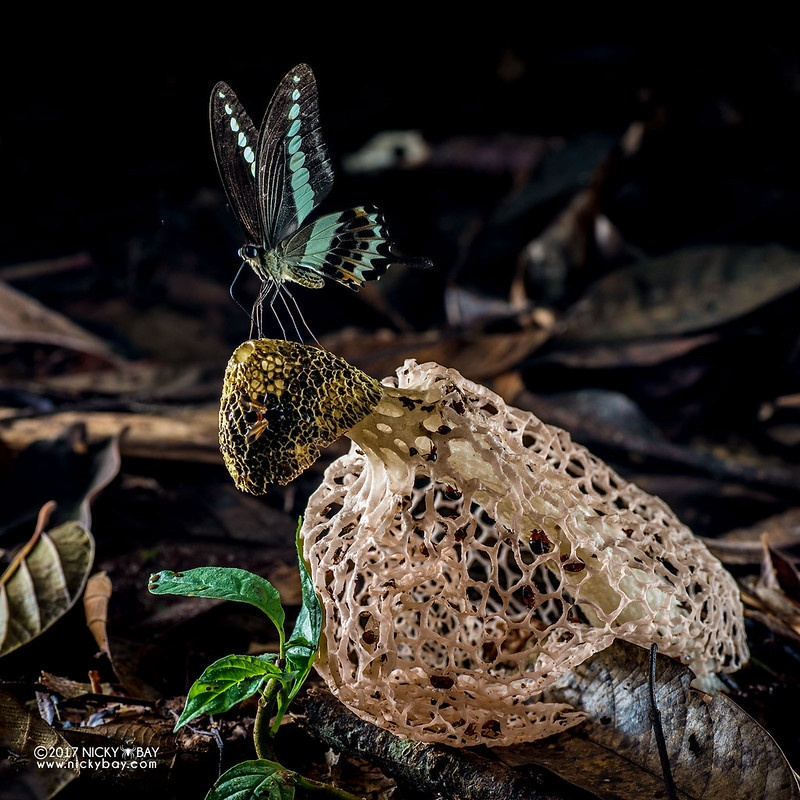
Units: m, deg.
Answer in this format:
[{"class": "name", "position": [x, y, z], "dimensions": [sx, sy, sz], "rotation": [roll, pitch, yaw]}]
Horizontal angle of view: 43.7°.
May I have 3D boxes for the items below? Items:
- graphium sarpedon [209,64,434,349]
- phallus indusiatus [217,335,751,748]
[{"class": "graphium sarpedon", "position": [-0.163, -0.292, 1.522], "dimensions": [0.247, 0.430, 0.486], "rotation": [1, 91, -10]}, {"class": "phallus indusiatus", "position": [0.156, 0.161, 1.666], "dimensions": [0.763, 0.791, 0.595], "rotation": [-12, 111, -36]}]
